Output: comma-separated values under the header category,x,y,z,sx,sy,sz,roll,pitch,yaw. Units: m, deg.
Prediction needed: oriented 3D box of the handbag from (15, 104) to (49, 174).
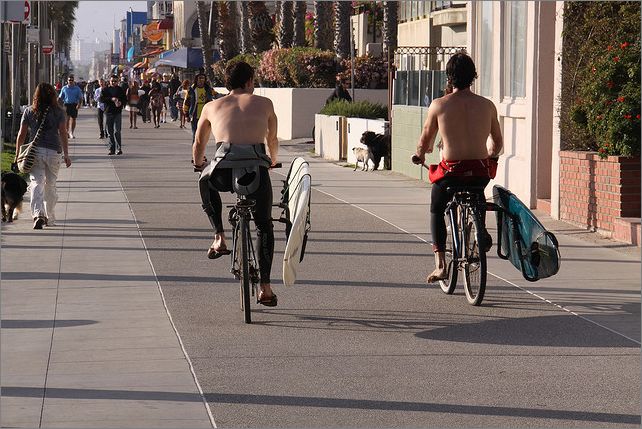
category,x,y,z,sx,sy,sz,roll,pitch,yaw
handbag,-4.258,-1.108,16.161,0.514,0.964,0.320,-8,14,-34

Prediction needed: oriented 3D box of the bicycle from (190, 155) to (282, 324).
category,x,y,z,sx,sy,sz,roll,pitch,yaw
bicycle,-0.826,0.222,11.826,0.607,1.725,1.196,-1,12,-5

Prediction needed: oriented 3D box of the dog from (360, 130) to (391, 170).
category,x,y,z,sx,sy,sz,roll,pitch,yaw
dog,1.303,-1.456,24.262,1.097,0.817,0.419,-1,2,-43

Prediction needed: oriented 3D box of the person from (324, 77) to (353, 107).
category,x,y,z,sx,sy,sz,roll,pitch,yaw
person,0.551,-3.309,29.343,0.805,0.968,0.923,-6,12,-11

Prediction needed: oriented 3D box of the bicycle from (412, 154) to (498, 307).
category,x,y,z,sx,sy,sz,roll,pitch,yaw
bicycle,1.626,0.323,12.123,0.748,0.970,1.576,0,8,-4

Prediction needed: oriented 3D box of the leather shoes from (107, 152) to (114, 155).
category,x,y,z,sx,sy,sz,roll,pitch,yaw
leather shoes,-5.236,-1.548,27.409,0.157,0.080,0.248,-2,13,-11

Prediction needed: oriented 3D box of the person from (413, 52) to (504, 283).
category,x,y,z,sx,sy,sz,roll,pitch,yaw
person,1.546,-0.464,12.262,0.965,2.656,0.452,2,11,10
